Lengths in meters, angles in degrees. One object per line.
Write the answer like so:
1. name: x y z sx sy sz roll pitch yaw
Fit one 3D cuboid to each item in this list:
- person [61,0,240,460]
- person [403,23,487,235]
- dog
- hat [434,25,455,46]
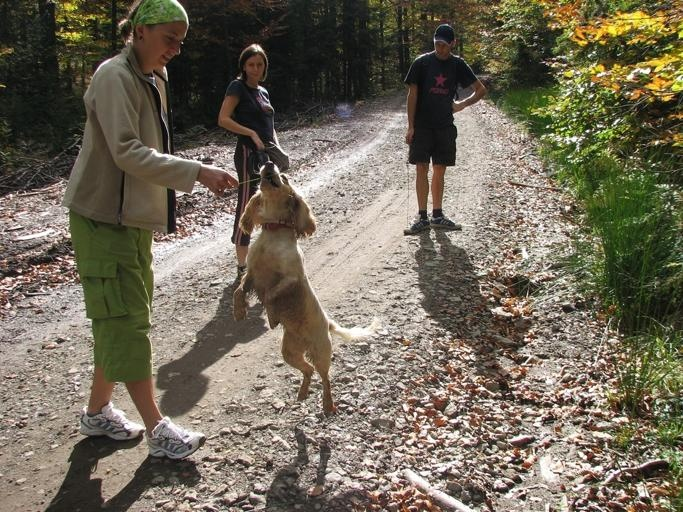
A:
1. person: -1.647 -0.179 4.917 1.101 3.660 1.042 7 19 20
2. person: 1.435 -1.791 8.732 1.033 2.924 0.759 -1 18 -4
3. dog: -0.443 0.248 5.654 1.062 2.199 1.074 1 18 3
4. hat: 1.441 -3.070 8.313 0.259 0.193 0.325 17 42 5
